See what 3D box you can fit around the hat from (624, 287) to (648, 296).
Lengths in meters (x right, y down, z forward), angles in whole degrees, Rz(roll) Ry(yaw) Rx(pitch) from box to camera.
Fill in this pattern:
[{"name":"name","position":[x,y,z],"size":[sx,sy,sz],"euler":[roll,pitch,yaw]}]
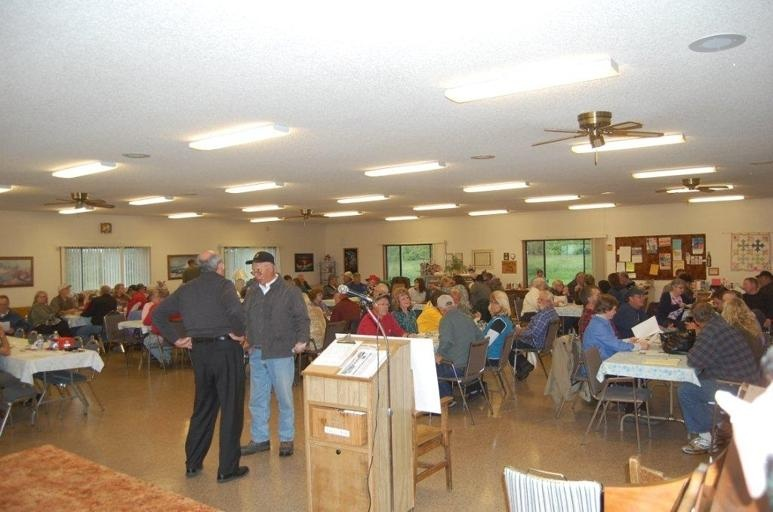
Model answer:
[{"name":"hat","position":[5.089,0.728,11.474],"size":[0.462,0.143,0.273],"euler":[0,3,-24]}]

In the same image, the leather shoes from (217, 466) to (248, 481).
[{"name":"leather shoes","position":[-1.489,2.119,5.427],"size":[0.113,0.107,0.285],"euler":[4,6,44]}]

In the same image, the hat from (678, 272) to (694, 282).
[{"name":"hat","position":[6.454,0.457,12.075],"size":[0.243,0.120,0.268],"euler":[21,3,15]}]

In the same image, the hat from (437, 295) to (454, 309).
[{"name":"hat","position":[0.763,0.621,7.459],"size":[0.174,0.200,0.207],"euler":[-6,25,-12]}]

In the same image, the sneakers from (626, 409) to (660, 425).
[{"name":"sneakers","position":[3.139,1.988,6.871],"size":[0.303,0.131,0.379],"euler":[-1,-4,26]}]

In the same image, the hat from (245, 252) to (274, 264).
[{"name":"hat","position":[-1.298,0.020,5.790],"size":[0.206,0.122,0.241],"euler":[-1,3,-4]}]

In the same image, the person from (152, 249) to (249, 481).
[{"name":"person","position":[-1.777,1.073,5.529],"size":[0.796,2.219,0.398],"euler":[1,5,23]}]

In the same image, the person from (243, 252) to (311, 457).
[{"name":"person","position":[-1.198,1.039,5.818],"size":[0.584,2.166,0.820],"euler":[-5,6,-42]}]

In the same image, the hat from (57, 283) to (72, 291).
[{"name":"hat","position":[-7.148,0.687,12.268],"size":[0.309,0.103,0.203],"euler":[-9,1,-11]}]

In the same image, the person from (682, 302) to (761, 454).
[{"name":"person","position":[3.449,1.327,5.833],"size":[0.721,1.508,0.912],"euler":[1,5,29]}]

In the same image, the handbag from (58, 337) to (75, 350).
[{"name":"handbag","position":[-4.256,1.161,7.408],"size":[0.185,0.106,0.178],"euler":[-2,-3,26]}]

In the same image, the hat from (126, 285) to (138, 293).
[{"name":"hat","position":[-6.163,0.802,13.447],"size":[0.138,0.167,0.190],"euler":[18,26,41]}]

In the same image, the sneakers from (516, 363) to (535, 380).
[{"name":"sneakers","position":[2.196,1.840,8.917],"size":[0.262,0.102,0.239],"euler":[-22,29,-27]}]

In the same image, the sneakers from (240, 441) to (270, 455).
[{"name":"sneakers","position":[-1.424,2.061,6.014],"size":[0.336,0.128,0.116],"euler":[3,-3,-24]}]

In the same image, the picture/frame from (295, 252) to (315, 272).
[{"name":"picture/frame","position":[-2.931,0.211,19.482],"size":[0.792,0.981,0.154],"euler":[0,1,-41]}]

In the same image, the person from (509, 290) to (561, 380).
[{"name":"person","position":[2.236,1.293,8.892],"size":[0.886,1.431,0.642],"euler":[9,2,18]}]
